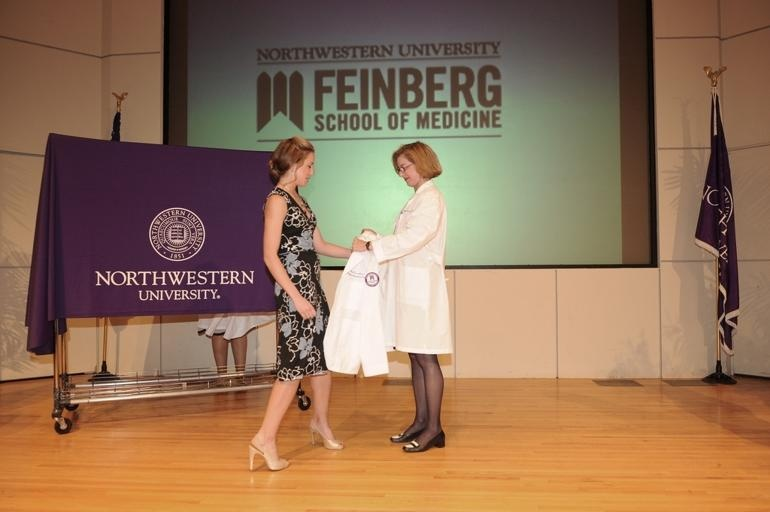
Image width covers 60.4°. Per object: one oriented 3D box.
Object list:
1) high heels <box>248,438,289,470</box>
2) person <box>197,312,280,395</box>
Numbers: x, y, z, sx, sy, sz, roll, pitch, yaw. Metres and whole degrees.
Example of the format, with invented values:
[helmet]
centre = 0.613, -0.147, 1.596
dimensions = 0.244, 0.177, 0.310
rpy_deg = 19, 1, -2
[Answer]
[high heels]
centre = -0.983, 1.654, 5.529
dimensions = 0.352, 0.195, 0.191
rpy_deg = 5, -2, -12
[person]
centre = -1.686, 0.973, 7.146
dimensions = 0.862, 0.860, 0.682
rpy_deg = 1, -11, -31
